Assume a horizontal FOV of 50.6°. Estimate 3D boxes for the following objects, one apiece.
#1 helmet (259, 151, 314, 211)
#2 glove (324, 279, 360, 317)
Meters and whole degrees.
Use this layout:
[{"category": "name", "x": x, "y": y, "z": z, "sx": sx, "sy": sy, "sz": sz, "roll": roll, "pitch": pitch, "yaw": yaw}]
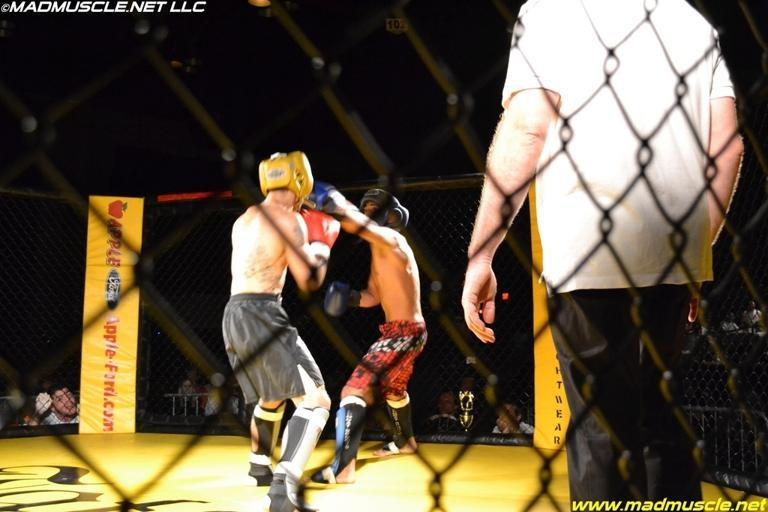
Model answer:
[{"category": "helmet", "x": -0.605, "y": -0.457, "z": 5.063, "sx": 0.281, "sy": 0.359, "sz": 0.372, "roll": -3, "pitch": -5, "yaw": 8}, {"category": "glove", "x": -0.293, "y": 0.280, "z": 5.516, "sx": 0.190, "sy": 0.228, "sz": 0.351, "roll": 21, "pitch": 8, "yaw": 0}]
